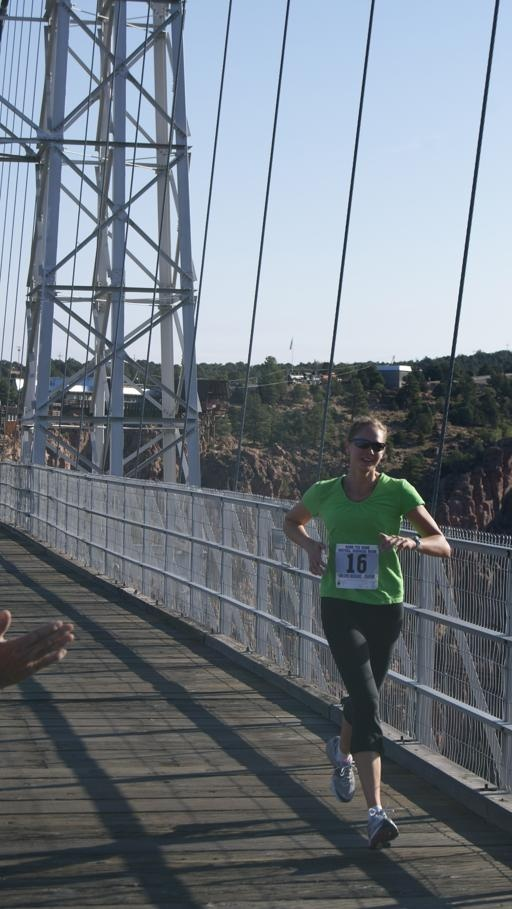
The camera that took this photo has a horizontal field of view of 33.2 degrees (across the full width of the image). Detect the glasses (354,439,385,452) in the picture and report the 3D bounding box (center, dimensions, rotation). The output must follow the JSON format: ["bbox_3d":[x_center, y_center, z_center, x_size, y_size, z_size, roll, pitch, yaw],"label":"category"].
[{"bbox_3d":[0.387,-0.034,2.910,0.103,0.048,0.064,-6,0,-17],"label":"glasses"}]

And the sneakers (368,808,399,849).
[{"bbox_3d":[0.386,1.166,2.680,0.064,0.183,0.084,-2,42,-9],"label":"sneakers"}]

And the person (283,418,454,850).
[{"bbox_3d":[0.418,0.594,2.974,0.523,1.463,0.733,-4,0,-5],"label":"person"}]
